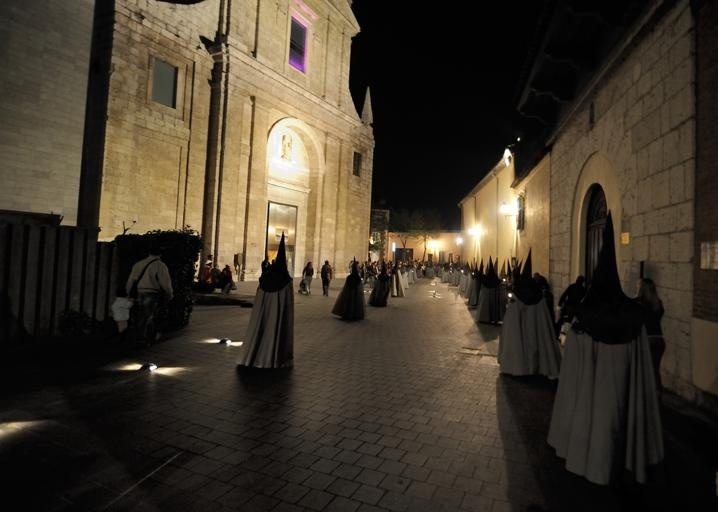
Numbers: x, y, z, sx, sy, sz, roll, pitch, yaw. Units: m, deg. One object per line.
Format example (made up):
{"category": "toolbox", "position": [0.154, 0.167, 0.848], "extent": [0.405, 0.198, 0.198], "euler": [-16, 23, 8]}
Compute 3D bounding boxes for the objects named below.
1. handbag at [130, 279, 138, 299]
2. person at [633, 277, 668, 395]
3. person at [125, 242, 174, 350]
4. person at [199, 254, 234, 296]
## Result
{"category": "handbag", "position": [-4.675, 0.702, 10.028], "extent": [0.067, 0.305, 0.287], "euler": [7, 2, -26]}
{"category": "person", "position": [4.822, 1.305, 7.941], "extent": [0.461, 1.786, 0.901], "euler": [5, 7, 28]}
{"category": "person", "position": [-4.580, 0.871, 10.511], "extent": [0.862, 2.051, 1.045], "euler": [-2, 7, -28]}
{"category": "person", "position": [-6.074, 0.802, 20.256], "extent": [1.265, 1.887, 1.173], "euler": [2, -5, -2]}
